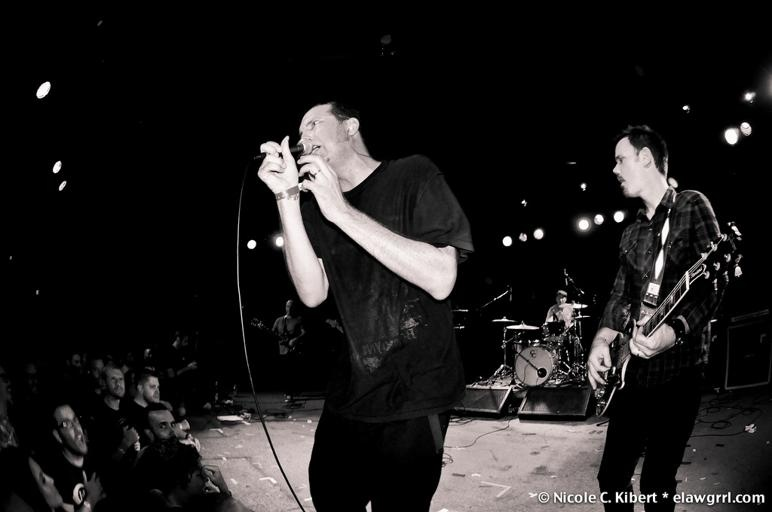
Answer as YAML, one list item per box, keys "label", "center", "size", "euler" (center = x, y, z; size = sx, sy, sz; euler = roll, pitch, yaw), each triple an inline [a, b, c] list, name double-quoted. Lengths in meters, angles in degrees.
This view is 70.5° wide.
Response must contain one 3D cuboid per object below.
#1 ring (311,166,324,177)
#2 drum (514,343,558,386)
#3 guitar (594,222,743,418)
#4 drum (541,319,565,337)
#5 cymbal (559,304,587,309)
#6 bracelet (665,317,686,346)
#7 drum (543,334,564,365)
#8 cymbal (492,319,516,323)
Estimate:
- label: "ring"
  center: [-0.363, -0.440, 2.887]
  size: [0.047, 0.036, 0.048]
  euler: [0, -10, 0]
- label: "drum"
  center: [2.367, 1.723, 8.540]
  size: [0.547, 0.575, 0.383]
  euler: [12, 8, 25]
- label: "guitar"
  center: [1.910, 0.471, 3.745]
  size: [0.844, 1.374, 0.388]
  euler: [4, 4, 26]
- label: "drum"
  center: [3.013, 1.308, 9.807]
  size: [0.273, 0.198, 0.281]
  euler: [0, -15, 0]
- label: "cymbal"
  center: [3.408, 0.915, 9.852]
  size: [0.238, 0.058, 0.246]
  euler: [-2, 0, 9]
- label: "bracelet"
  center: [1.894, 0.512, 3.665]
  size: [0.148, 0.151, 0.161]
  euler: [-1, -28, 12]
- label: "drum"
  center: [2.712, 1.523, 8.928]
  size: [0.326, 0.395, 0.369]
  euler: [20, 22, 25]
- label: "cymbal"
  center: [2.300, 1.286, 10.735]
  size: [0.253, 0.060, 0.256]
  euler: [2, -2, -17]
